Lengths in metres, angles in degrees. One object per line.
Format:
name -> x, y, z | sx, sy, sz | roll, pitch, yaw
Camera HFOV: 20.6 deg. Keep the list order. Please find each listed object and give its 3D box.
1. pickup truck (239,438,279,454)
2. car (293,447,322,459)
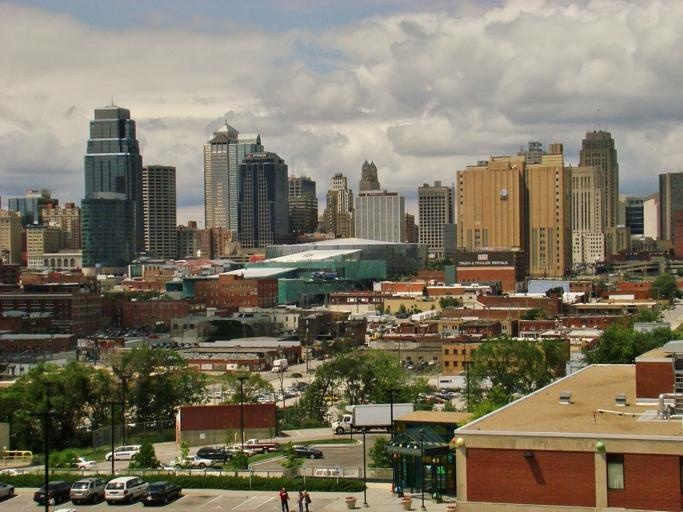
pickup truck -> -10.075, 23.865, 235.226 | 3.166, 1.253, 2.005 | 2, -2, 5
car -> -4.106, 24.219, 231.257 | 3.370, 1.252, 1.622 | -1, 6, 11
